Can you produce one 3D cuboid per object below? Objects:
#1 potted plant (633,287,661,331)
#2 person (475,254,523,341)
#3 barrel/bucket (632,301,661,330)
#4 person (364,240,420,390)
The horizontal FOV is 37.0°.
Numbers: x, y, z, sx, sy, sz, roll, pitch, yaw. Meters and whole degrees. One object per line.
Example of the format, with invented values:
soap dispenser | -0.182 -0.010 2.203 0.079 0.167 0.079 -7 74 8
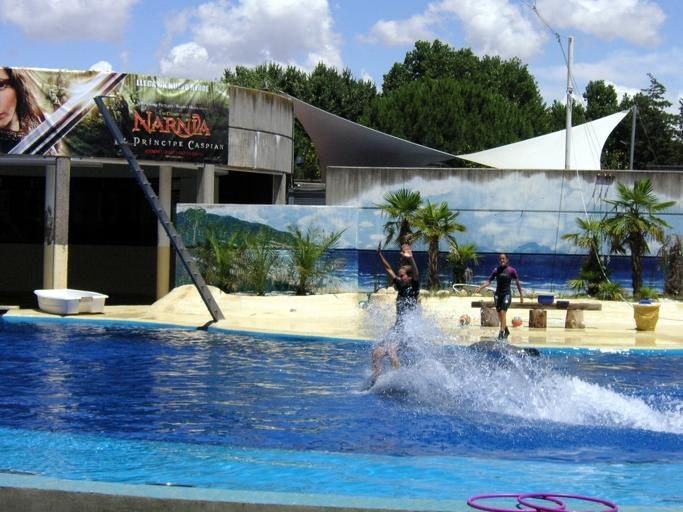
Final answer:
potted plant | 7.587 1.299 25.352 0.677 1.028 0.715 2 4 32
person | 3.731 0.843 23.479 0.905 1.692 3.040 1 1 10
barrel/bucket | 7.205 1.356 24.103 0.568 0.597 0.600 1 2 0
person | 0.925 1.025 17.729 0.811 2.091 1.396 1 0 1
